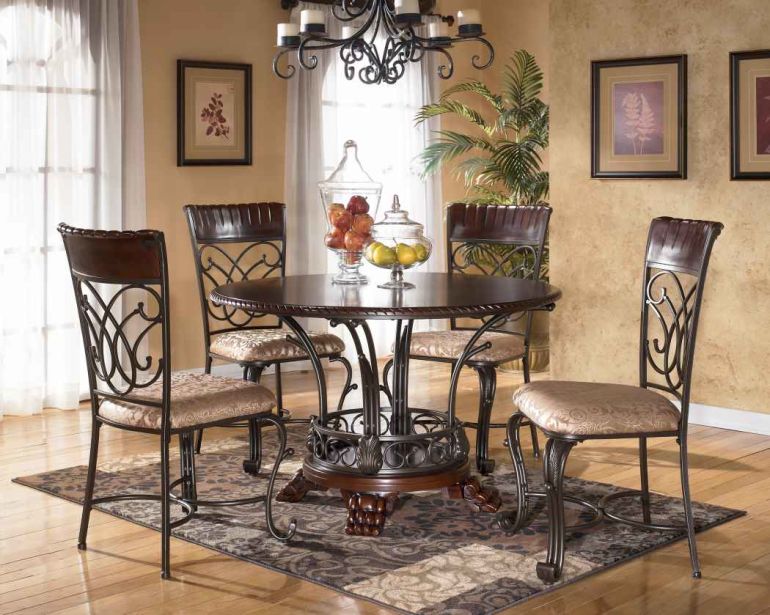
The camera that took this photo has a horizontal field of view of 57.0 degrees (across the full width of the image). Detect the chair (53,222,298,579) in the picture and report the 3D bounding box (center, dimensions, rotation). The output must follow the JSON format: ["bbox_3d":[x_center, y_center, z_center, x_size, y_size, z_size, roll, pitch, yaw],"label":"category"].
[{"bbox_3d":[-1.260,0.185,3.600,0.943,1.168,3.046,-5,7,-31],"label":"chair"}]

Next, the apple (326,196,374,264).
[{"bbox_3d":[-0.149,-0.320,2.961,0.180,0.283,0.181,-3,8,-16],"label":"apple"}]

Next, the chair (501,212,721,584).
[{"bbox_3d":[0.751,0.299,2.466,0.769,1.100,0.627,-5,4,-14],"label":"chair"}]

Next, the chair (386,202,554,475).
[{"bbox_3d":[0.389,0.142,3.602,0.902,1.179,0.823,0,9,19],"label":"chair"}]
